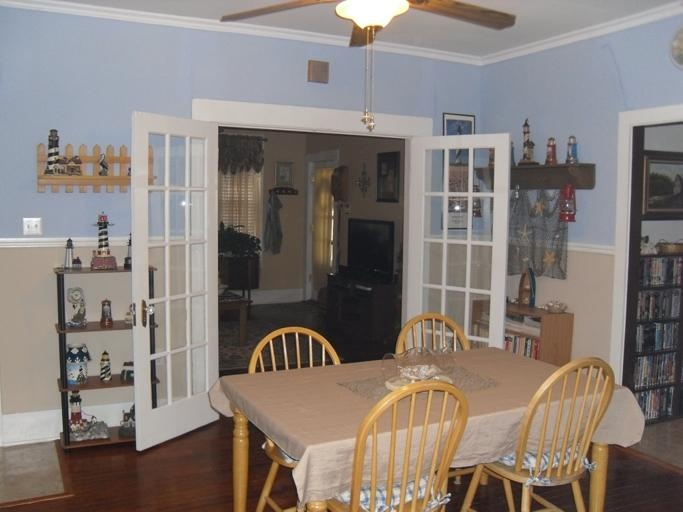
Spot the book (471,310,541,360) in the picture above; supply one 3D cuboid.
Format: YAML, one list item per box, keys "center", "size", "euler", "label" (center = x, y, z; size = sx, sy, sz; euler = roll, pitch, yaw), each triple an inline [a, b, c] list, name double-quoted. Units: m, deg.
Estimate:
- center: [1.371, 0.660, 5.018]
  size: [0.124, 0.361, 0.376]
  euler: [0, 4, -27]
  label: "book"

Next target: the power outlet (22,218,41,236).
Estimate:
- center: [-2.369, -0.226, 4.565]
  size: [0.129, 0.137, 0.017]
  euler: [-3, 8, -21]
  label: "power outlet"

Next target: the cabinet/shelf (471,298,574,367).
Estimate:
- center: [1.498, 0.635, 4.954]
  size: [0.188, 0.482, 0.494]
  euler: [0, 8, -25]
  label: "cabinet/shelf"

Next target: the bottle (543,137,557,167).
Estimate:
- center: [1.814, -0.912, 5.184]
  size: [0.095, 0.254, 0.416]
  euler: [3, 8, 18]
  label: "bottle"

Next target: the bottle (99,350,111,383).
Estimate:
- center: [-1.832, 0.852, 4.636]
  size: [0.078, 0.213, 0.145]
  euler: [-3, 8, -23]
  label: "bottle"

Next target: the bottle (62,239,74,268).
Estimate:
- center: [-2.092, -0.024, 4.595]
  size: [0.073, 0.219, 0.174]
  euler: [-3, 8, -24]
  label: "bottle"

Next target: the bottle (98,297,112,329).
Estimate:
- center: [-1.813, 0.438, 4.609]
  size: [0.091, 0.194, 0.205]
  euler: [-3, 8, -22]
  label: "bottle"

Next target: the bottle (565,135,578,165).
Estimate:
- center: [1.931, -0.900, 5.025]
  size: [0.090, 0.242, 0.272]
  euler: [3, 8, 20]
  label: "bottle"

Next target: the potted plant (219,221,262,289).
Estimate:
- center: [-1.567, 0.068, 9.142]
  size: [0.615, 0.935, 0.263]
  euler: [-2, 8, -18]
  label: "potted plant"

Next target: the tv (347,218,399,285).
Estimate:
- center: [0.408, -0.045, 7.431]
  size: [0.103, 0.551, 0.745]
  euler: [-4, 10, -28]
  label: "tv"

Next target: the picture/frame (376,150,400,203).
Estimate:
- center: [0.586, -1.011, 7.479]
  size: [0.053, 0.701, 0.597]
  euler: [-2, 9, -23]
  label: "picture/frame"

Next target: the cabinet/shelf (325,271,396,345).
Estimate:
- center: [0.256, 0.618, 7.108]
  size: [0.308, 0.781, 0.814]
  euler: [-1, 5, -23]
  label: "cabinet/shelf"

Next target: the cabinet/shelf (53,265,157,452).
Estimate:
- center: [-1.793, 0.789, 4.631]
  size: [0.742, 1.421, 0.371]
  euler: [-2, 4, -20]
  label: "cabinet/shelf"

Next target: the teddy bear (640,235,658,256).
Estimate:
- center: [2.690, -0.090, 5.270]
  size: [0.191, 0.176, 0.150]
  euler: [-11, 15, -38]
  label: "teddy bear"
